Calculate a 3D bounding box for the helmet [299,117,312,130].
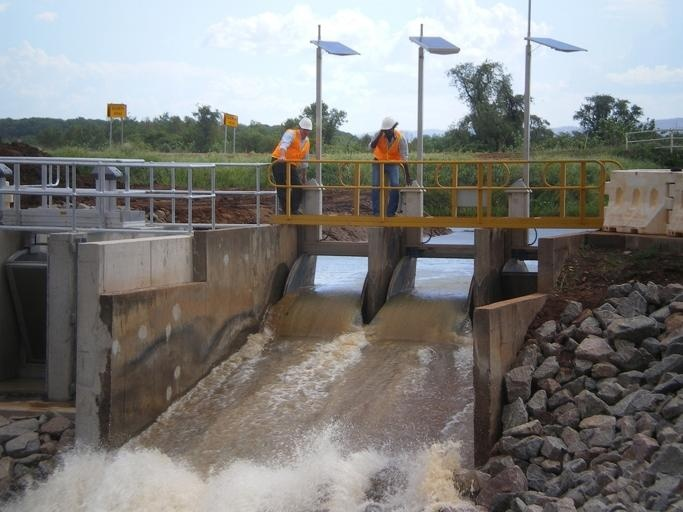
[{"bbox_3d":[-0.819,-3.010,15.579,0.227,0.196,0.336,5,11,-16],"label":"helmet"}]
